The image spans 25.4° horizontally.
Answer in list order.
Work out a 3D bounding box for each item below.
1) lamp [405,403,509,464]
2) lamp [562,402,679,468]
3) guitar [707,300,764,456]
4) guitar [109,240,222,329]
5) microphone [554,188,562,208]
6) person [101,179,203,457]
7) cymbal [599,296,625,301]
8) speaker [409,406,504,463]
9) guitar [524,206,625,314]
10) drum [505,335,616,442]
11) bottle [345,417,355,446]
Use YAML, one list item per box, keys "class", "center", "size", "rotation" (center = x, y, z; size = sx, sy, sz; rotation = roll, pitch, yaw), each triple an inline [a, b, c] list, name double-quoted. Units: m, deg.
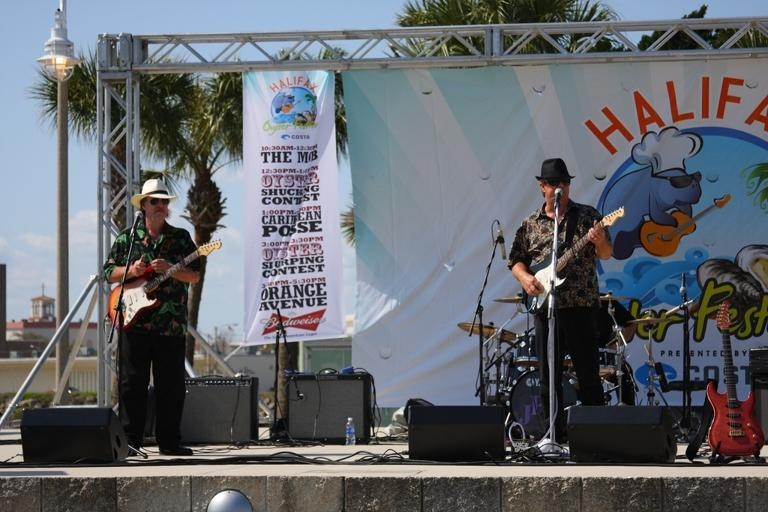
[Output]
- class: "lamp"
  center: [0.737, 1.814, 17.528]
  size: [0.990, 0.569, 0.169]
  rotation: [0, -2, -2]
- class: "lamp"
  center: [2.410, 1.810, 17.391]
  size: [1.076, 0.587, 0.236]
  rotation: [-1, -2, 9]
- class: "guitar"
  center: [3.643, 1.290, 17.770]
  size: [0.568, 1.641, 0.343]
  rotation: [-1, -2, 12]
- class: "guitar"
  center: [-2.399, 0.258, 18.516]
  size: [1.571, 0.210, 0.548]
  rotation: [-41, 44, -21]
- class: "microphone"
  center: [1.823, -0.609, 17.953]
  size: [0.077, 0.225, 0.266]
  rotation: [-1, -3, 19]
- class: "person"
  center: [-2.575, 0.762, 18.596]
  size: [0.994, 3.075, 1.099]
  rotation: [2, -2, -7]
- class: "cymbal"
  center: [2.539, 0.467, 19.262]
  size: [0.157, 0.039, 0.161]
  rotation: [-1, 2, -17]
- class: "speaker"
  center: [0.743, 1.811, 17.529]
  size: [0.962, 0.523, 0.543]
  rotation: [0, -1, 4]
- class: "guitar"
  center: [2.001, 0.053, 18.293]
  size: [0.202, 1.426, 0.498]
  rotation: [34, 7, -48]
- class: "drum"
  center: [1.869, 1.519, 18.999]
  size: [1.103, 1.185, 1.036]
  rotation: [21, 8, 40]
- class: "bottle"
  center: [-0.386, 1.955, 19.200]
  size: [0.119, 0.298, 0.168]
  rotation: [0, -2, -1]
